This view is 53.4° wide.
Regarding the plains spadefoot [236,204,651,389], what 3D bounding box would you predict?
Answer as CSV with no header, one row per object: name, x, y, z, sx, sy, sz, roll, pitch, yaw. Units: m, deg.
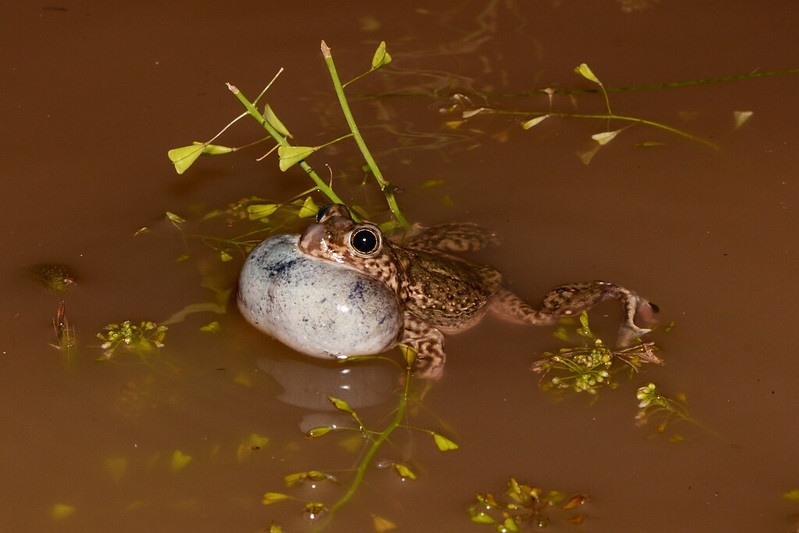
plains spadefoot,-0.149,0.160,5.006,2.901,0.910,1.111,-4,-57,-13
